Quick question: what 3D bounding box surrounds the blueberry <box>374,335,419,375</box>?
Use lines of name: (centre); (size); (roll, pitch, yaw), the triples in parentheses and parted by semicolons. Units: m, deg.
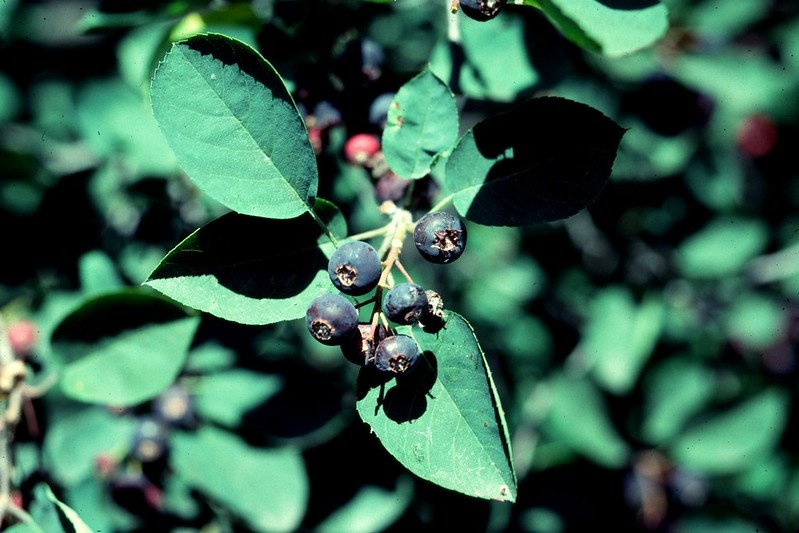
blueberry: (-0.008, 0.313, 2.859); (0.156, 0.145, 0.133); (8, 72, 4)

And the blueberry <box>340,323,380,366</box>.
blueberry: (-0.136, 0.270, 2.922); (0.138, 0.130, 0.142); (37, 93, -5)

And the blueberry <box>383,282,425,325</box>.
blueberry: (0.010, 0.135, 2.871); (0.128, 0.154, 0.144); (11, 68, 1)

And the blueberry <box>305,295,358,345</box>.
blueberry: (-0.236, 0.177, 2.829); (0.176, 0.073, 0.176); (-23, 73, -6)
